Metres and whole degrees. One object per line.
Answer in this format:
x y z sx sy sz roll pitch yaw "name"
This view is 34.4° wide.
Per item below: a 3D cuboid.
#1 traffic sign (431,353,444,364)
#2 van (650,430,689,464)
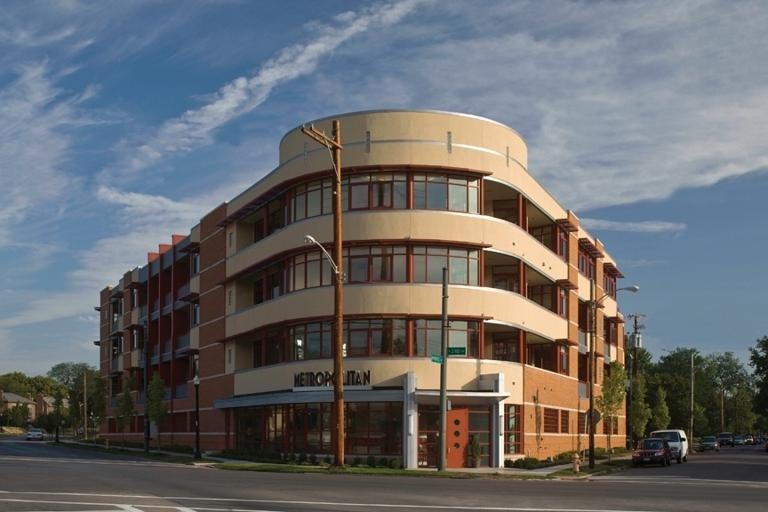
4.356 8.331 100.540 0.853 0.510 0.834 1 -1 -14 "traffic sign"
27.785 18.102 118.761 2.730 2.034 4.364 -5 -16 13 "van"
